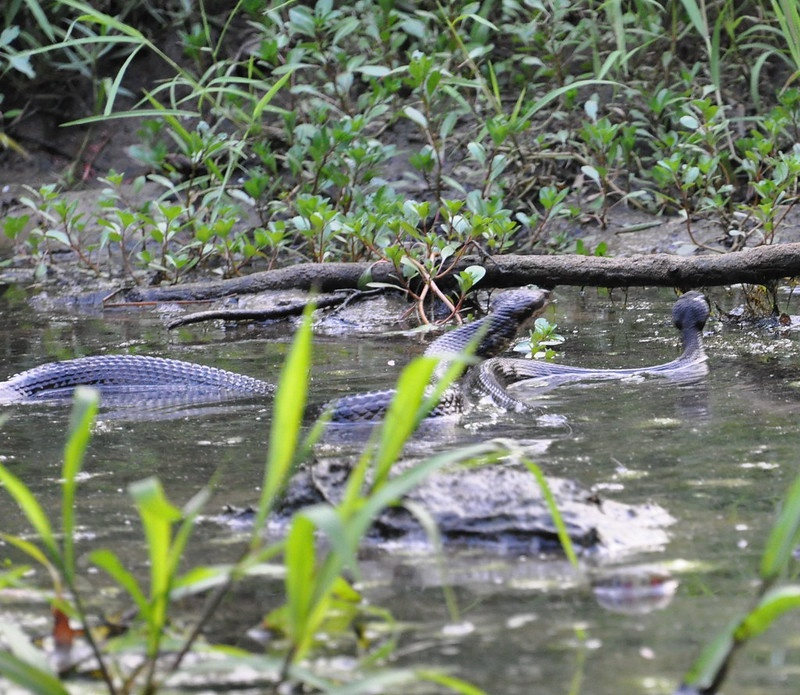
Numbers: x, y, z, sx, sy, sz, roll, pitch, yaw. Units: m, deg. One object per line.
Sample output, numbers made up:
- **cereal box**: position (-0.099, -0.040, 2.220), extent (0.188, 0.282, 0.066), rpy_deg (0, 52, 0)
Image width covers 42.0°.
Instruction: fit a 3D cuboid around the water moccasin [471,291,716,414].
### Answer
- **water moccasin**: position (0.885, -0.014, 4.714), extent (1.417, 0.388, 0.729), rpy_deg (-5, 12, -30)
